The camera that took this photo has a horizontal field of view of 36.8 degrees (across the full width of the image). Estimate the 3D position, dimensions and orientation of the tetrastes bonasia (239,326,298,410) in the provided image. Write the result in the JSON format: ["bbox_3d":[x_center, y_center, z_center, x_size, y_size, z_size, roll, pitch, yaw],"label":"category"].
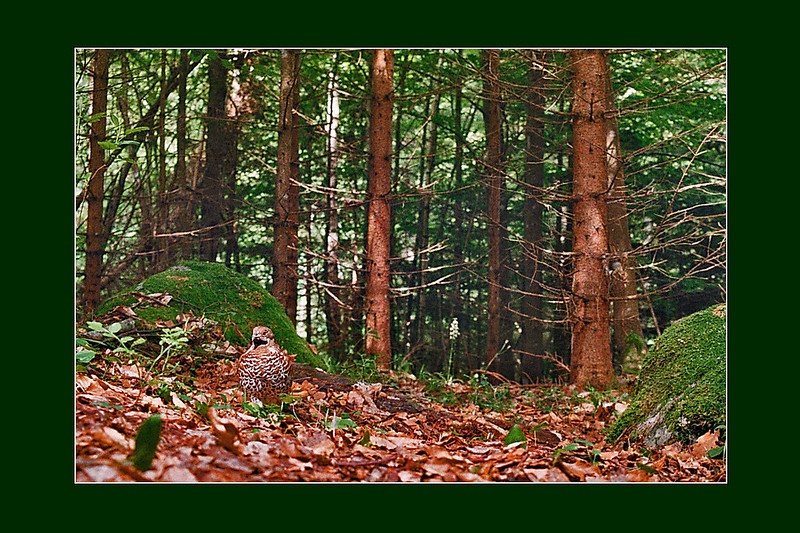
[{"bbox_3d":[-1.673,1.274,15.135,0.564,0.981,0.796,1,-1,7],"label":"tetrastes bonasia"}]
